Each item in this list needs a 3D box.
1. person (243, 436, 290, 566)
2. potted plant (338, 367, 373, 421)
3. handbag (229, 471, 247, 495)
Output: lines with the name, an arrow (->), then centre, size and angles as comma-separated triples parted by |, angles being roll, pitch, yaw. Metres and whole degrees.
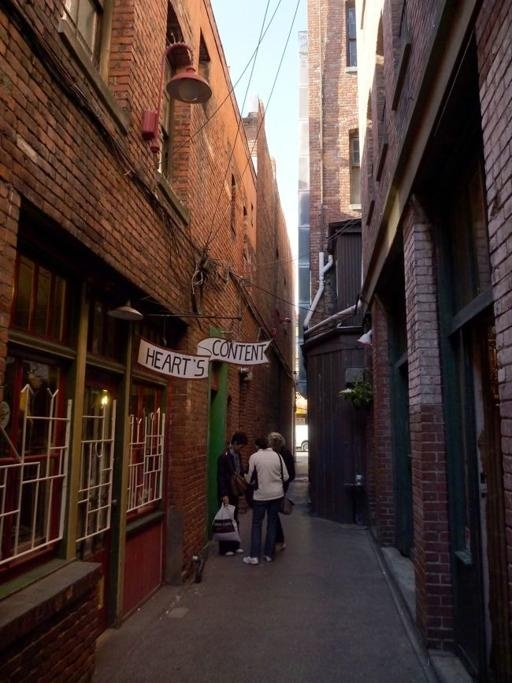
person -> 0.133, 2.213, 7.211 | 0.564, 1.704, 0.917 | -1, -7, 15
potted plant -> 1.879, 0.960, 9.245 | 0.336, 0.761, 0.468 | -4, -11, 1
handbag -> -0.266, 1.994, 7.237 | 0.206, 0.586, 0.194 | -1, -14, -1
